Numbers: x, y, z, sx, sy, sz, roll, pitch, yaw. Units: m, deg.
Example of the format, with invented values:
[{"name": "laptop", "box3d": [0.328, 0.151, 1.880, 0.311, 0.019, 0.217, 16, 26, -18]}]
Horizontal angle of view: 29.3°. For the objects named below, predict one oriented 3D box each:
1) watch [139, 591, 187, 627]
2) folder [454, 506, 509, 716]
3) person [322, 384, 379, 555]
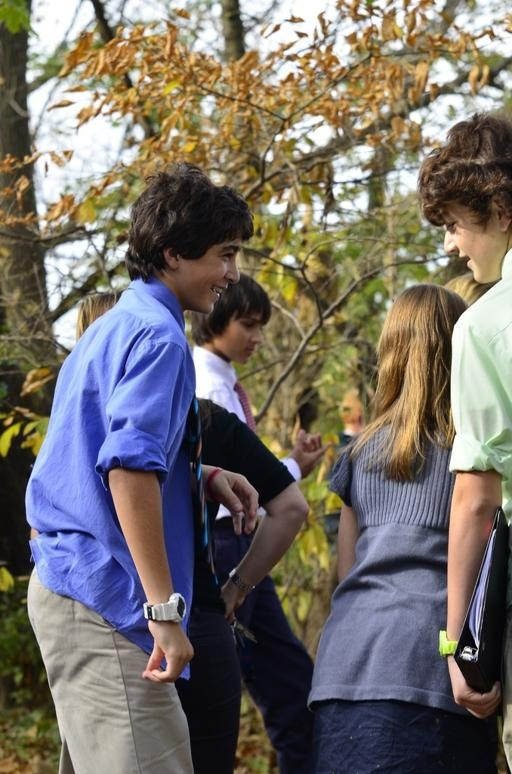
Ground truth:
[{"name": "watch", "box3d": [-0.232, 0.522, 2.312, 0.122, 0.075, 0.093, -6, 8, 15]}, {"name": "folder", "box3d": [0.550, 0.548, 2.396, 0.102, 0.431, 0.442, 10, -20, 21]}, {"name": "person", "box3d": [0.441, 0.488, 5.000, 0.298, 0.878, 0.300, 2, -5, 33]}]
